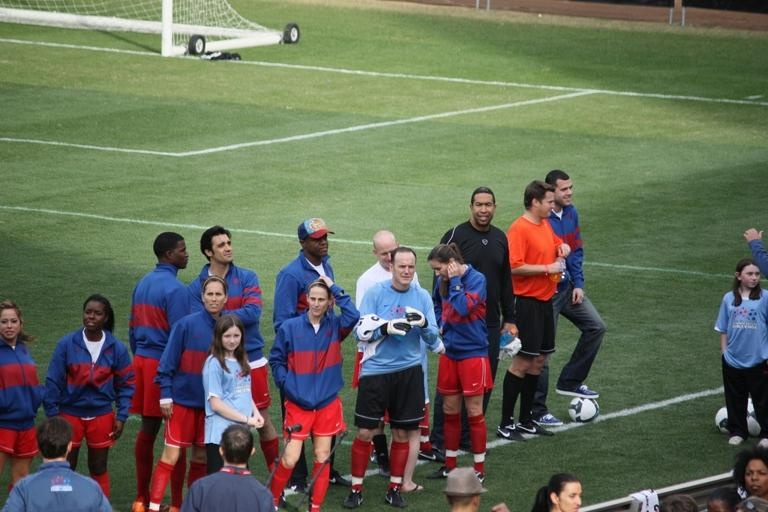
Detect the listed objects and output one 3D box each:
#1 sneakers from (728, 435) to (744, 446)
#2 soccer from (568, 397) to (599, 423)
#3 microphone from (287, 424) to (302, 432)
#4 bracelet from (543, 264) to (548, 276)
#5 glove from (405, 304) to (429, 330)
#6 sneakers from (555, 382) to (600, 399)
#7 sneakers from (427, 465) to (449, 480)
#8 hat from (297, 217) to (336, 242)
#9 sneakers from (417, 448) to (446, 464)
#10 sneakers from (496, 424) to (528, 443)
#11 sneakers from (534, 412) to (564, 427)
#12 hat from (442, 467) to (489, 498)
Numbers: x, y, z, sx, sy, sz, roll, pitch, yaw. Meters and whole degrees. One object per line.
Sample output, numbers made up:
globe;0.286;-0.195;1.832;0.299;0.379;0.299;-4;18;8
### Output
sneakers;5.637;2.950;22.718;0.230;0.148;0.153;2;5;5
soccer;3.254;2.513;23.298;0.472;0.367;0.354;-1;14;-33
microphone;-1.338;2.571;21.142;0.228;0.072;0.160;-16;-4;24
bracelet;2.613;0.225;22.832;0.066;0.164;0.148;2;5;7
glove;0.488;0.936;21.463;0.337;0.293;0.293;2;5;0
sneakers;3.209;2.227;23.513;0.725;0.273;0.260;0;6;7
sneakers;0.800;3.393;22.116;0.443;0.160;0.143;-4;1;-1
hat;-1.132;-0.411;21.911;0.498;0.253;0.372;2;9;41
sneakers;0.759;3.174;22.522;0.490;0.179;0.157;-1;1;11
sneakers;2.046;2.870;22.889;0.427;0.169;0.231;3;6;33
sneakers;2.684;2.691;23.192;0.422;0.155;0.199;-1;3;11
hat;1.107;3.140;19.771;0.502;0.376;0.283;2;5;4
